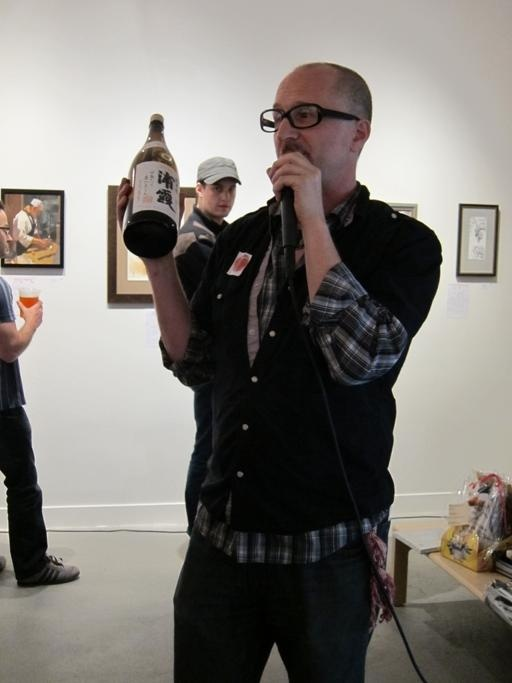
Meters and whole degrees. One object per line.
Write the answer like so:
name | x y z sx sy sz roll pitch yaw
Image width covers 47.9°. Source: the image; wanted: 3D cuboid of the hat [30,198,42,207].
hat | -1.209 -0.763 3.183 0.050 0.040 0.040 2 1 35

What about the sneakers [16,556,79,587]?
sneakers | -0.910 1.011 2.584 0.287 0.136 0.101 3 -7 -22

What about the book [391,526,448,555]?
book | 0.685 0.824 2.395 0.138 0.044 0.211 -1 -1 -15
